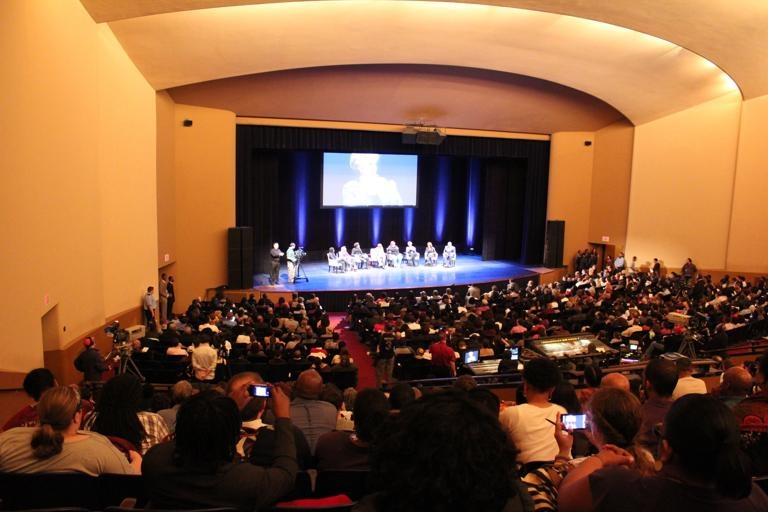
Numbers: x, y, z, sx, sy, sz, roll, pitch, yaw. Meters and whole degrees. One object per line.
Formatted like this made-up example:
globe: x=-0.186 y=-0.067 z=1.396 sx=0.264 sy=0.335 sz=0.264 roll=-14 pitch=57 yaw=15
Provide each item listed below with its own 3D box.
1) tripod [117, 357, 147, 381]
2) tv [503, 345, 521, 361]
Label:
tripod: x=-4.270 y=1.866 z=10.001 sx=0.422 sy=0.491 sz=0.961 roll=0 pitch=2 yaw=-23
tv: x=2.000 y=1.555 z=9.295 sx=0.348 sy=0.215 sz=0.188 roll=2 pitch=-4 yaw=-41
